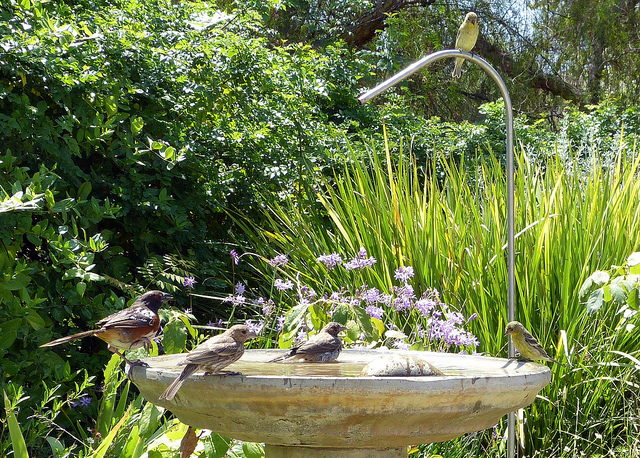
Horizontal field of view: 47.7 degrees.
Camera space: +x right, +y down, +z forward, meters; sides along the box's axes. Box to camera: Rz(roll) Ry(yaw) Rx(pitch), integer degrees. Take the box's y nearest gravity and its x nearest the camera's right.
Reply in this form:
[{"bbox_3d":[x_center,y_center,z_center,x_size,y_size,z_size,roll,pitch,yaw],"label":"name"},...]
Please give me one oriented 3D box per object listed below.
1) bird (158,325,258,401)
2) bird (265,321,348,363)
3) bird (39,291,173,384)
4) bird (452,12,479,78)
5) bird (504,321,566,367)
[{"bbox_3d":[-0.534,0.612,3.434,0.468,0.267,0.163,-6,1,-32],"label":"bird"},{"bbox_3d":[-0.044,0.635,3.785,0.450,0.317,0.161,7,-22,-23],"label":"bird"},{"bbox_3d":[-1.075,0.557,3.743,0.718,0.445,0.227,-2,-6,-45],"label":"bird"},{"bbox_3d":[1.122,-1.485,5.662,0.157,0.303,0.570,1,-2,-2],"label":"bird"},{"bbox_3d":[1.196,0.654,4.068,0.319,0.226,0.118,9,-16,-3],"label":"bird"}]
